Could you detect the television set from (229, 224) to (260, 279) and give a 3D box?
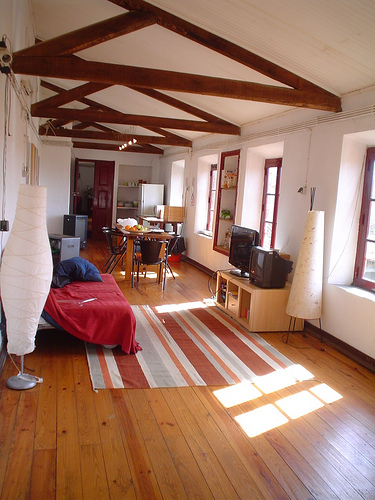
[{"bbox_3d":[0.754,0.023,4.673,0.301,0.732,0.771,4,6,-15],"label":"television set"}]

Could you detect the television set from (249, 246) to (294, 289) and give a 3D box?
[{"bbox_3d":[0.936,0.188,4.295,0.509,0.473,0.493,-1,4,-10],"label":"television set"}]

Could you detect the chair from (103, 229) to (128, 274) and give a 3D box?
[{"bbox_3d":[-1.464,0.043,7.224,0.757,0.930,0.816,-1,12,-9],"label":"chair"}]

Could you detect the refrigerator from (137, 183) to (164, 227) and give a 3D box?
[{"bbox_3d":[-1.115,-1.473,10.798,0.761,1.196,0.561,5,3,-6],"label":"refrigerator"}]

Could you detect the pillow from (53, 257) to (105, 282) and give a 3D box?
[{"bbox_3d":[-1.274,0.226,4.199,0.563,0.259,0.282,4,3,-15],"label":"pillow"}]

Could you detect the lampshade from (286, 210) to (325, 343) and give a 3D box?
[{"bbox_3d":[1.324,0.154,3.830,0.358,1.061,0.181,6,3,13],"label":"lampshade"}]

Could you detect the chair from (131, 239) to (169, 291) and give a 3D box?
[{"bbox_3d":[-0.628,0.200,5.958,0.678,0.831,0.678,0,13,-26],"label":"chair"}]
